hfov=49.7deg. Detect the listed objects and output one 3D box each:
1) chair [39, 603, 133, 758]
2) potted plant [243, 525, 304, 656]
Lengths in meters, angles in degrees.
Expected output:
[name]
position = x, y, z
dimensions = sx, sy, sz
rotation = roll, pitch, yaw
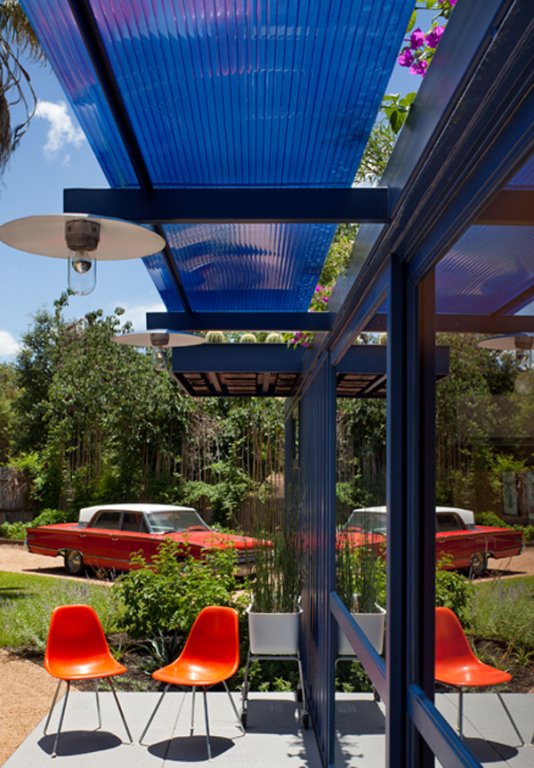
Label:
[chair]
position = -1.431, 2.129, 4.372
dimensions = 0.733, 1.201, 0.853
rotation = 6, -33, -24
[potted plant]
position = 0.064, 1.767, 4.822
dimensions = 0.413, 0.973, 0.895
rotation = 0, -10, 2
